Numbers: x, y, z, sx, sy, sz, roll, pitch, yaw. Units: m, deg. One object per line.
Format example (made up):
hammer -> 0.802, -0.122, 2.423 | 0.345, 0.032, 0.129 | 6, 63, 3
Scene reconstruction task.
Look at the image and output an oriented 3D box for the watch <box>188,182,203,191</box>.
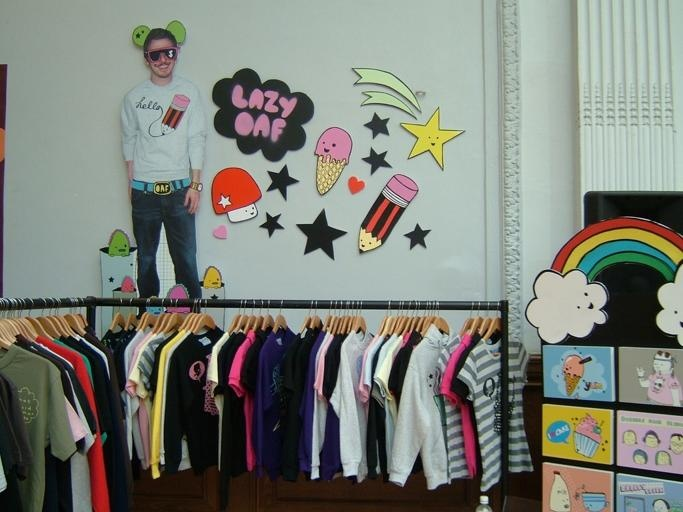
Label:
watch -> -0.902, -0.435, 5.100 | 0.060, 0.054, 0.069 | 3, 2, 0
